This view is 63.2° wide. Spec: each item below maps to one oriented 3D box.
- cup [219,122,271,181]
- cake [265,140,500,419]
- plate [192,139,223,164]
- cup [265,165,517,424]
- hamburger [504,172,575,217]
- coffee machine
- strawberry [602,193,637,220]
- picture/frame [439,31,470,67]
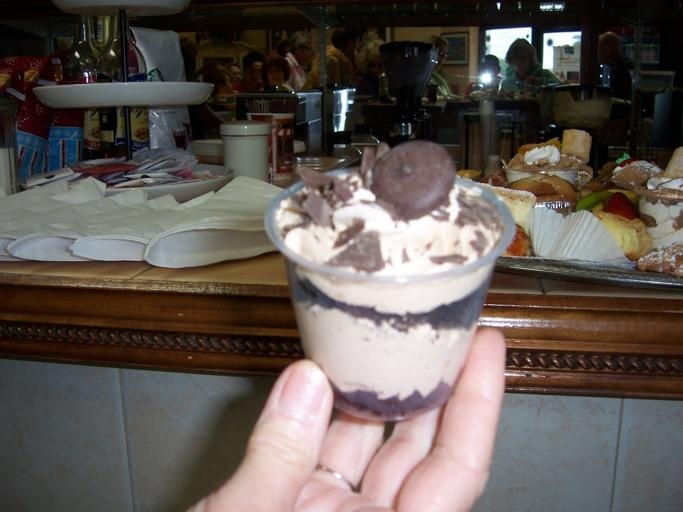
[{"bbox_3d":[-0.209,-0.230,1.228,0.115,0.127,0.084,-3,11,-20],"label":"cup"},{"bbox_3d":[0.040,0.034,0.535,0.225,0.283,0.138,0,11,-7],"label":"cake"},{"bbox_3d":[-0.339,-0.260,1.412,0.080,0.042,0.074,-1,15,-19],"label":"plate"},{"bbox_3d":[0.030,0.022,0.591,0.244,0.169,0.221,0,30,-3],"label":"cup"},{"bbox_3d":[0.364,-0.113,0.999,0.087,0.030,0.093,-2,21,-17],"label":"hamburger"},{"bbox_3d":[0.152,-0.385,1.305,0.130,0.251,0.143,5,11,17],"label":"coffee machine"},{"bbox_3d":[0.447,-0.077,0.893,0.043,0.032,0.032,34,46,15],"label":"strawberry"},{"bbox_3d":[0.423,-0.767,2.065,0.133,0.123,0.007,17,32,42],"label":"picture/frame"}]
